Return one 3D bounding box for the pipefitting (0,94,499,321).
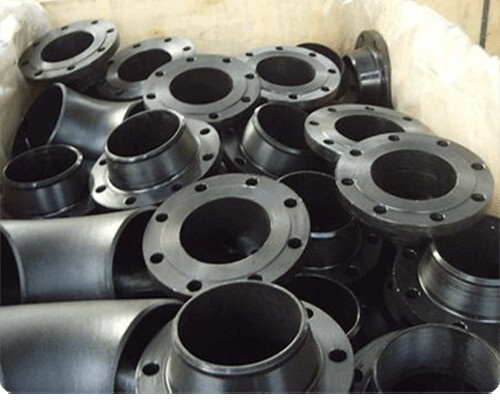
[{"bbox_3d":[0.025,0.230,2.938,2.326,0.528,1.119,-8,54,2],"label":"pipefitting"}]

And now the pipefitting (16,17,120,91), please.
[{"bbox_3d":[-1.312,-1.046,4.075,0.737,0.210,0.708,-27,45,-19],"label":"pipefitting"}]
